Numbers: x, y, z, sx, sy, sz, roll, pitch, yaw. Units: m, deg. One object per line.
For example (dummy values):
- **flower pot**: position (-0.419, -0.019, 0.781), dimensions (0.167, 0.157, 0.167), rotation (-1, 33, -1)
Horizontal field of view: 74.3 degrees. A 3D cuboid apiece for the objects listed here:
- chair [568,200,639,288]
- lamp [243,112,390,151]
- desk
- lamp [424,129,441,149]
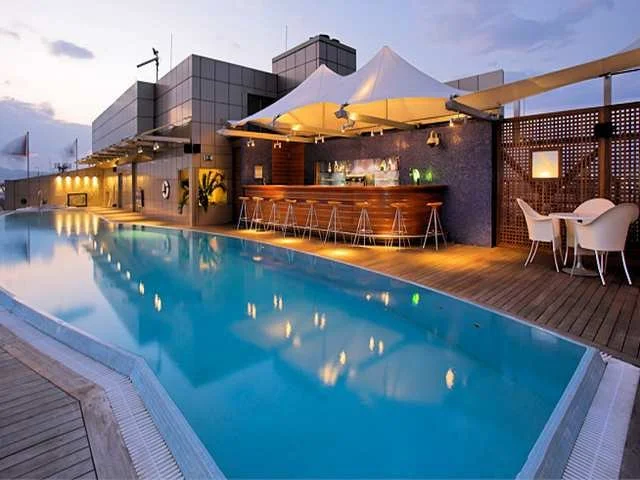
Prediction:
- **chair**: position (4.667, -0.030, 6.929), dimensions (0.832, 1.242, 1.329), rotation (5, 11, 35)
- **lamp**: position (-0.797, -3.369, 13.044), dimensions (4.360, 0.751, 2.773), rotation (3, 11, 23)
- **desk**: position (4.384, 0.063, 7.225), dimensions (0.854, 1.175, 0.932), rotation (1, 8, 12)
- **lamp**: position (2.768, -2.459, 10.240), dimensions (0.298, 0.433, 0.182), rotation (8, 12, 44)
